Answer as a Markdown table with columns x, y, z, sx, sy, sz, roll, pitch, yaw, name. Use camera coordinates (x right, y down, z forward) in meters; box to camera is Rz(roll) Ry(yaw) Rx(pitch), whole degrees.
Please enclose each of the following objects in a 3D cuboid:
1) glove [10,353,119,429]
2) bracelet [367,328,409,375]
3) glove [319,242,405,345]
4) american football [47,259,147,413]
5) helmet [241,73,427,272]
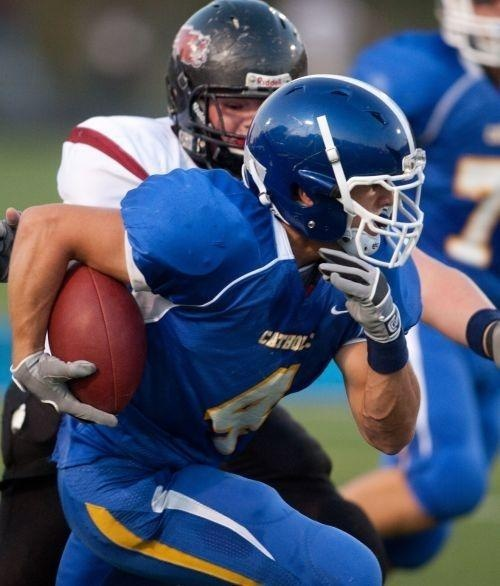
| x | y | z | sx | sy | sz | roll | pitch | yaw | name |
| --- | --- | --- | --- | --- | --- | --- | --- | --- | --- |
| -0.348 | 0.182 | 1.383 | 0.182 | 0.148 | 0.069 | 13 | 53 | 19 | glove |
| 0.283 | 0.124 | 1.518 | 0.089 | 0.085 | 0.090 | 21 | 52 | 29 | bracelet |
| 0.220 | 0.008 | 1.468 | 0.154 | 0.189 | 0.116 | 8 | 37 | 30 | glove |
| -0.292 | 0.090 | 1.412 | 0.214 | 0.252 | 0.192 | 0 | -4 | -43 | american football |
| 0.186 | -0.249 | 1.489 | 0.425 | 0.308 | 0.290 | 26 | 56 | 28 | helmet |
